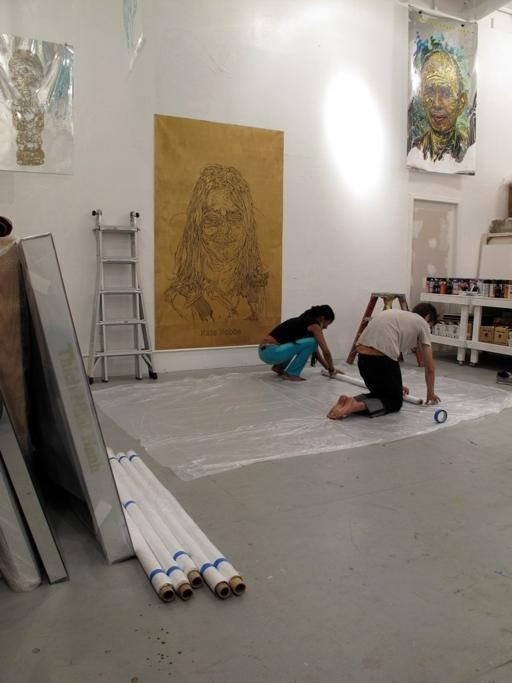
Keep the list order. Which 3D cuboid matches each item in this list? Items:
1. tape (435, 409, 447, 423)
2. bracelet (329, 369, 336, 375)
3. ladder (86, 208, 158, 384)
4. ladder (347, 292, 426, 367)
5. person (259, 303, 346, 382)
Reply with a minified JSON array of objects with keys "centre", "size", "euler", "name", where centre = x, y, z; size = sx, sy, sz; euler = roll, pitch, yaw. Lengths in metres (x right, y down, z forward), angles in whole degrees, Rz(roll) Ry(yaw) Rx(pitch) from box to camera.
[{"centre":[1.342,0.552,3.471],"size":[0.070,0.077,0.029],"euler":[25,-11,-31],"name":"tape"},{"centre":[0.776,0.309,4.837],"size":[0.047,0.071,0.055],"euler":[-1,53,8],"name":"bracelet"},{"centre":[-1.294,-0.449,4.630],"size":[0.666,1.673,0.412],"euler":[-1,6,-23],"name":"ladder"},{"centre":[1.161,-0.112,4.434],"size":[0.508,0.909,0.596],"euler":[-11,19,-30],"name":"ladder"},{"centre":[0.408,0.044,4.712],"size":[0.748,0.751,0.662],"euler":[-7,22,-12],"name":"person"}]
